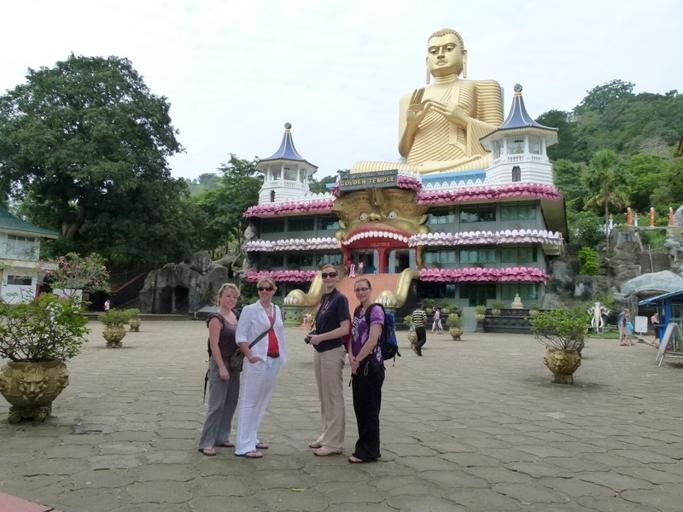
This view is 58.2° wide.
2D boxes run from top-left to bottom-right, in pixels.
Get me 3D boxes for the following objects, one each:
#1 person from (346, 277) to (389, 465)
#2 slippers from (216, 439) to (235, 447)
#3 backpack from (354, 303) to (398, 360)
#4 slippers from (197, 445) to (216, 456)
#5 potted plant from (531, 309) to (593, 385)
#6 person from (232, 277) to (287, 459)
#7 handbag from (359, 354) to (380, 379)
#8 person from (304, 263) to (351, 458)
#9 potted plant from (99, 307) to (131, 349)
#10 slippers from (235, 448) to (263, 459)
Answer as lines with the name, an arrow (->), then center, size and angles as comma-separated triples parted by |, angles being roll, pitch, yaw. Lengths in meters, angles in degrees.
person -> 0.332, 1.473, 8.103 | 0.465, 2.339, 0.464 | 1, -4, 1
slippers -> -1.579, 2.532, 8.316 | 0.261, 0.100, 0.087 | 0, -1, -2
backpack -> 0.527, 0.997, 8.313 | 0.479, 0.697, 0.518 | -7, 3, 13
slippers -> -1.731, 2.531, 7.970 | 0.093, 0.062, 0.233 | 5, -12, -38
potted plant -> 4.716, 1.916, 13.178 | 1.540, 1.856, 1.428 | -1, -10, 11
person -> -1.083, 1.591, 8.129 | 0.279, 2.038, 0.649 | -2, -5, 43
handbag -> 0.362, 1.420, 7.960 | 0.267, 0.272, 0.064 | 1, -4, 2
person -> -0.176, 1.364, 8.196 | 0.540, 2.506, 0.529 | -1, -4, 31
potted plant -> -6.909, 2.185, 18.668 | 0.791, 1.102, 1.246 | 3, -3, -19
slippers -> -1.206, 2.577, 7.978 | 0.327, 0.125, 0.125 | -4, -24, 3
